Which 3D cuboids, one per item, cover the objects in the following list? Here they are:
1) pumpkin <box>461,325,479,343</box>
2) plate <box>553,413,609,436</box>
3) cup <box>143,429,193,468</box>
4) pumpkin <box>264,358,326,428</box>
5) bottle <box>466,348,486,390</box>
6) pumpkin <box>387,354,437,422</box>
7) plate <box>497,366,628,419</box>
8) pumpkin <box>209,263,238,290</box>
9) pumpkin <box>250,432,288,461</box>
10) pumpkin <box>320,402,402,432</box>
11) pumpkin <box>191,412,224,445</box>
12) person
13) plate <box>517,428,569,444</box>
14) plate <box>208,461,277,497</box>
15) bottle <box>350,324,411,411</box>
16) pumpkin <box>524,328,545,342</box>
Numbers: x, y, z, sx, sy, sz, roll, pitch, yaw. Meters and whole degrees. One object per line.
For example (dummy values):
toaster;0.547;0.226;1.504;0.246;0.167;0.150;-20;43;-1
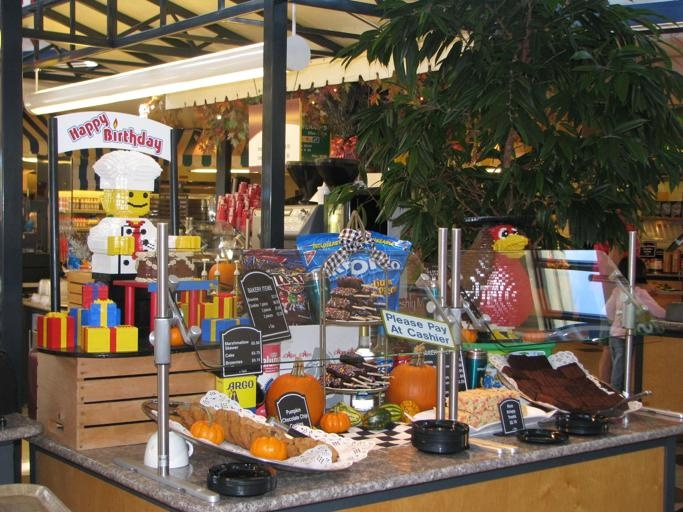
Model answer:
pumpkin;0.517;0.327;3.042;0.083;0.083;0.086;-1;1;16
plate;0.981;0.687;3.052;0.202;0.068;0.138;-2;0;16
cup;-0.604;0.677;2.647;0.177;0.131;0.163;-1;-1;0
pumpkin;-0.167;0.517;2.970;0.255;0.306;0.243;2;-3;-22
bottle;0.600;0.486;3.266;0.110;0.114;0.082;-1;-1;-8
pumpkin;0.306;0.554;3.187;0.194;0.199;0.195;2;-13;38
plate;0.949;0.577;3.249;0.507;0.162;0.233;-1;0;-5
pumpkin;-0.731;0.128;4.622;0.155;0.139;0.135;16;5;40
pumpkin;-0.247;0.653;2.563;0.084;0.084;0.086;1;-11;41
pumpkin;0.103;0.656;3.036;0.269;0.122;0.126;-2;-21;-4
pumpkin;-0.478;0.627;2.662;0.111;0.081;0.103;-2;-1;10
person;1.363;0.293;3.523;0.297;0.641;1.074;-2;0;23
plate;0.800;0.710;2.958;0.202;0.041;0.130;-2;0;8
plate;-0.327;0.734;2.465;0.223;0.078;0.154;-1;0;-10
bottle;0.165;0.460;3.188;0.312;0.348;0.320;2;4;12
pumpkin;0.770;0.316;2.977;0.054;0.033;0.055;-1;2;3
